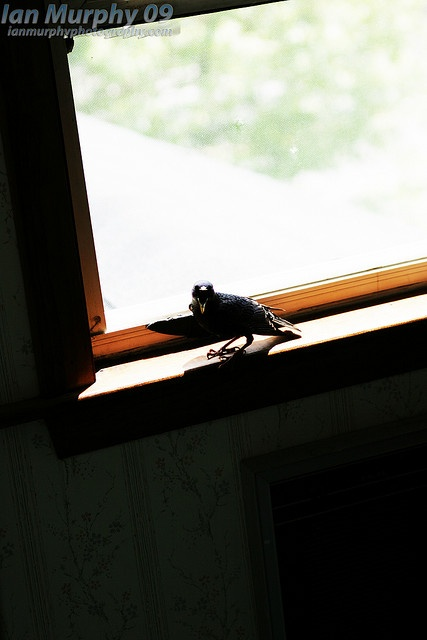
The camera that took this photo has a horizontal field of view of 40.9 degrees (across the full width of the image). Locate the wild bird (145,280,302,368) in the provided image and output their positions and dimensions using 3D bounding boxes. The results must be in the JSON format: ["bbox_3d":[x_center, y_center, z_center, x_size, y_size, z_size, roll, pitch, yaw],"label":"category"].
[{"bbox_3d":[0.019,0.002,1.066,0.246,0.132,0.221,-5,1,-40],"label":"wild bird"}]
